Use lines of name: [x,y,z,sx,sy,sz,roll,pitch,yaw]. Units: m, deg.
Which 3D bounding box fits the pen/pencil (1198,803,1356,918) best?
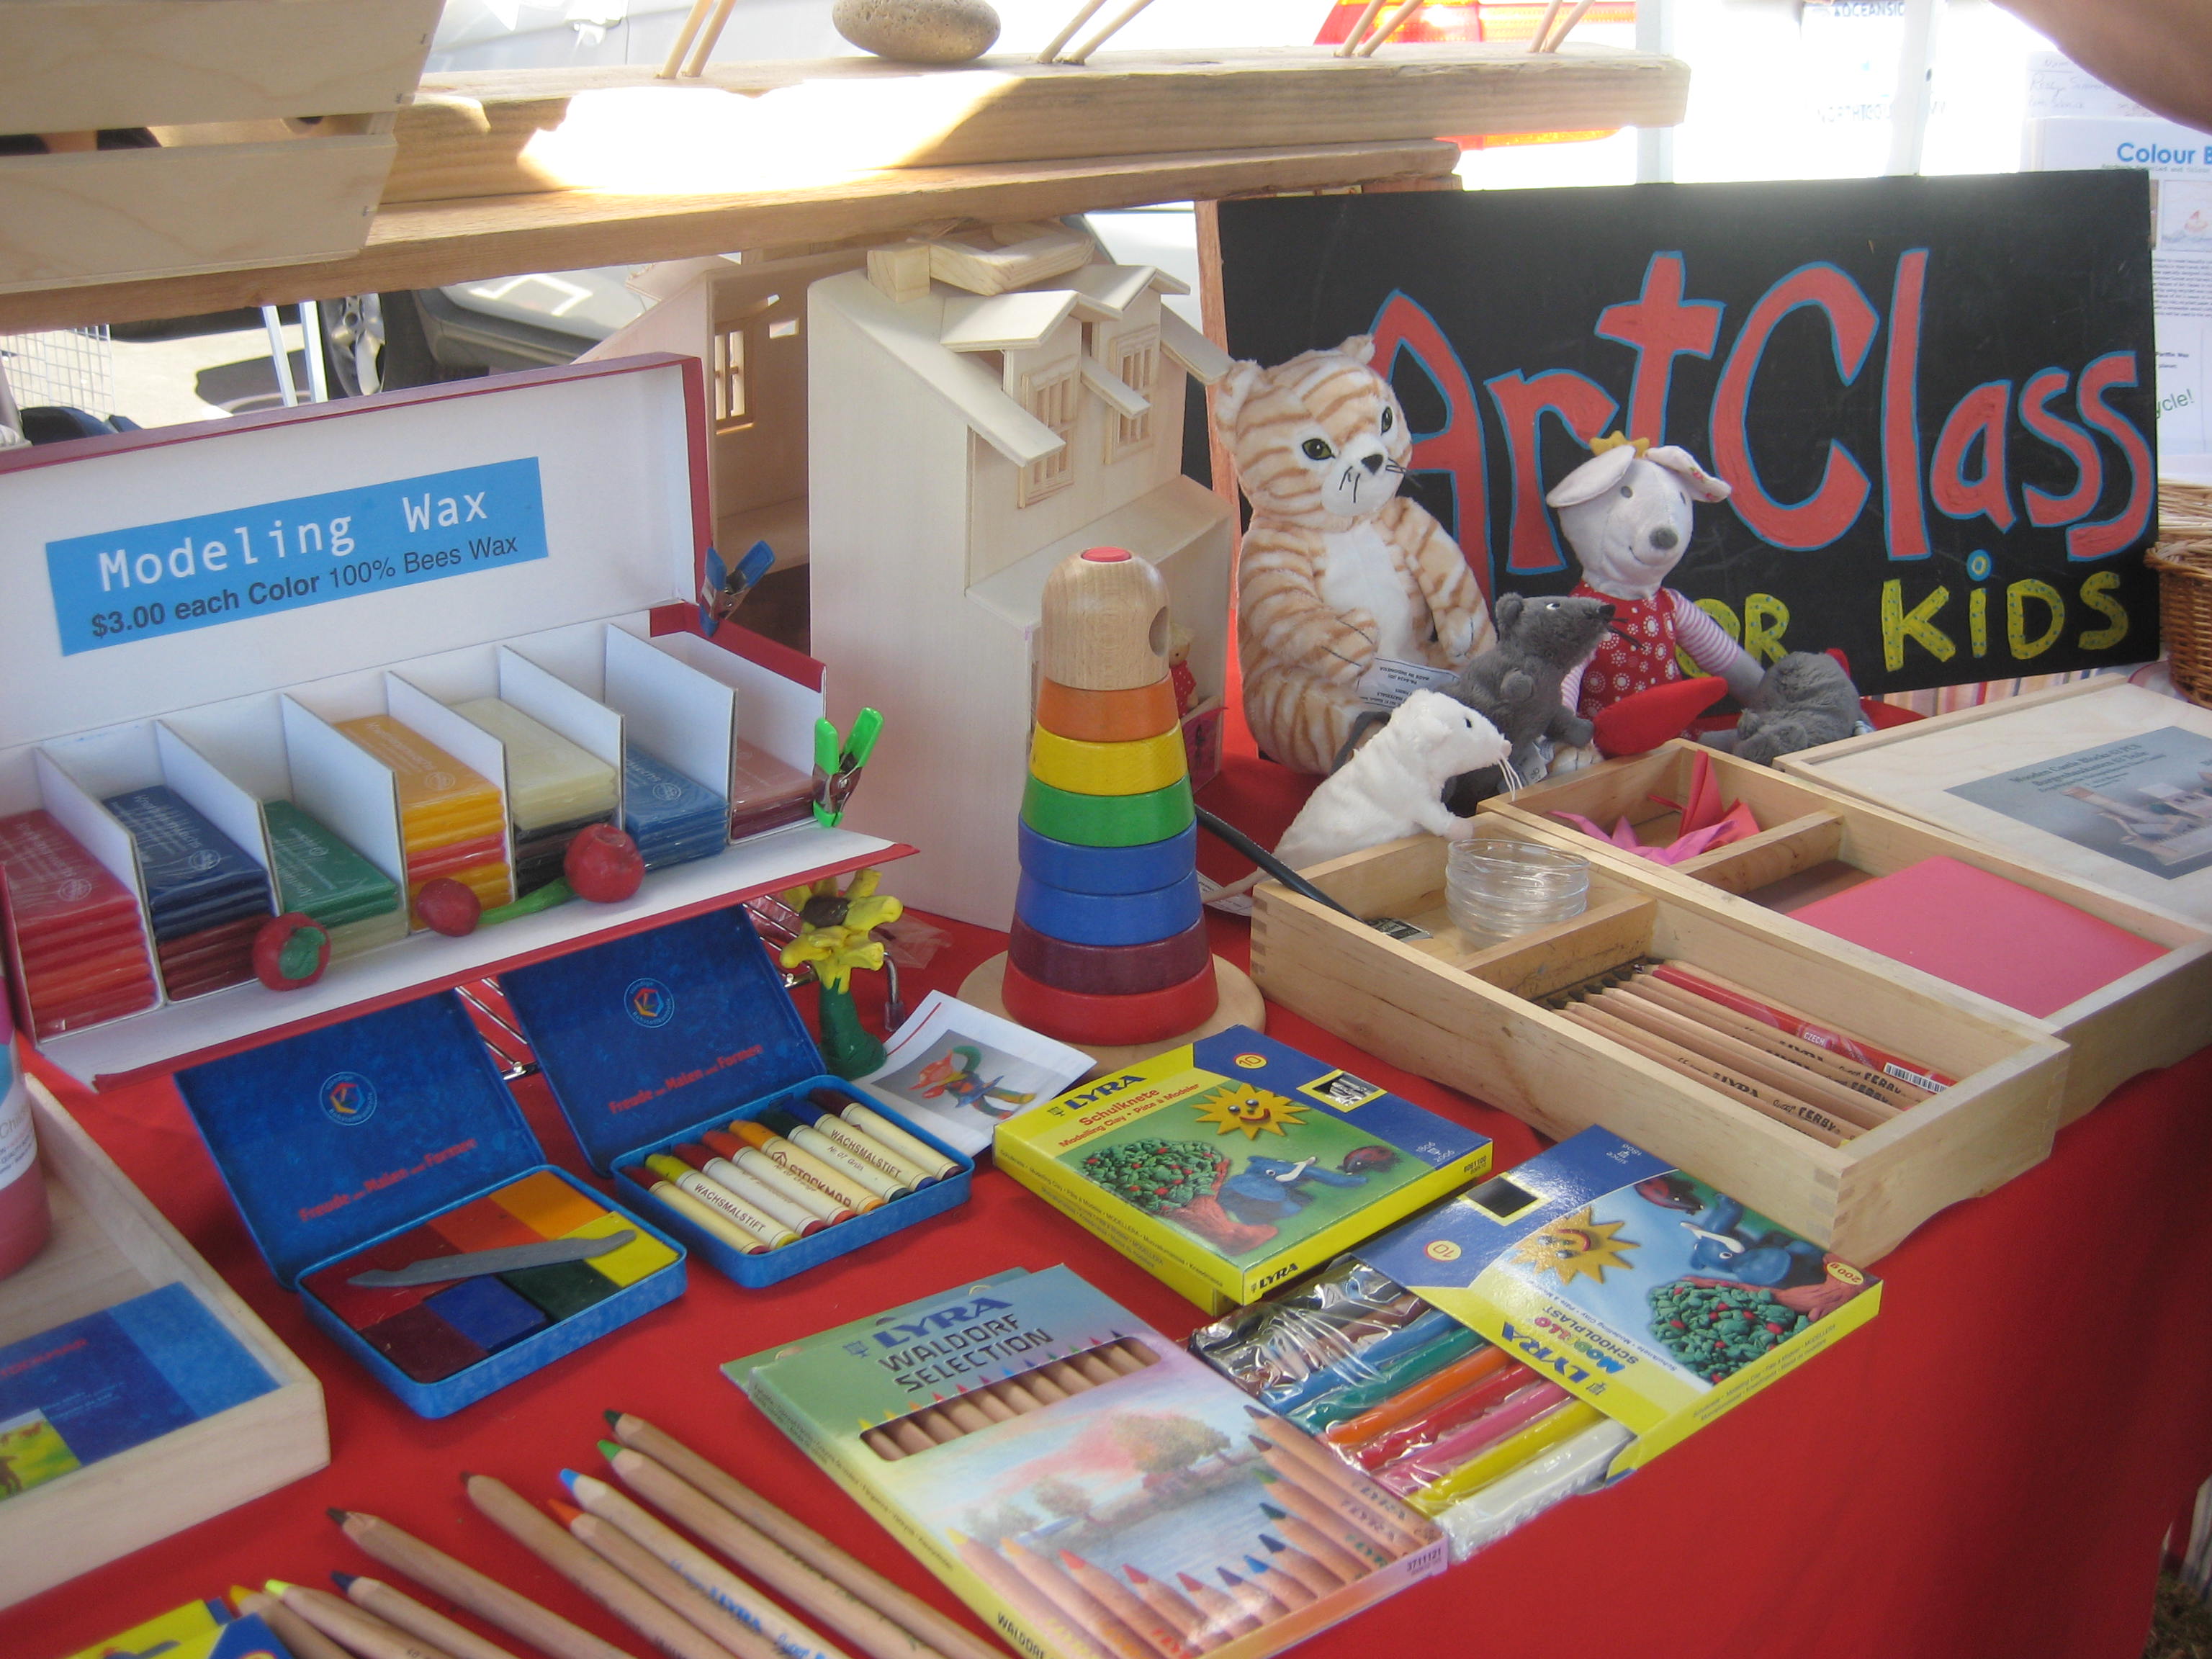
pen/pencil: [0.151,0.032,1.398,0.015,0.143,0.016,-56,9,-23]
